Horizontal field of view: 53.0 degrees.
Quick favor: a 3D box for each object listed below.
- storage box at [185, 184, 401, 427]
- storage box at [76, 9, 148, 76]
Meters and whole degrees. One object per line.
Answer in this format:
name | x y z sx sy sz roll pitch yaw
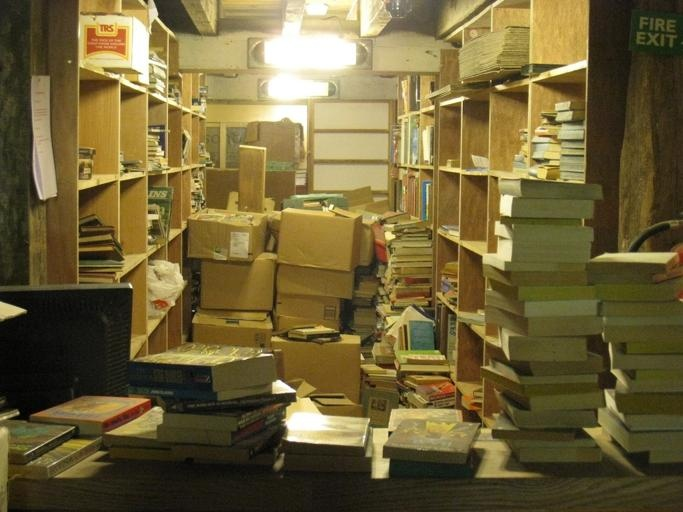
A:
storage box | -0.204 0.256 5.481 2.257 1.879 1.431 1 1 0
storage box | -1.036 -0.947 3.100 0.283 0.160 0.272 4 5 -23
